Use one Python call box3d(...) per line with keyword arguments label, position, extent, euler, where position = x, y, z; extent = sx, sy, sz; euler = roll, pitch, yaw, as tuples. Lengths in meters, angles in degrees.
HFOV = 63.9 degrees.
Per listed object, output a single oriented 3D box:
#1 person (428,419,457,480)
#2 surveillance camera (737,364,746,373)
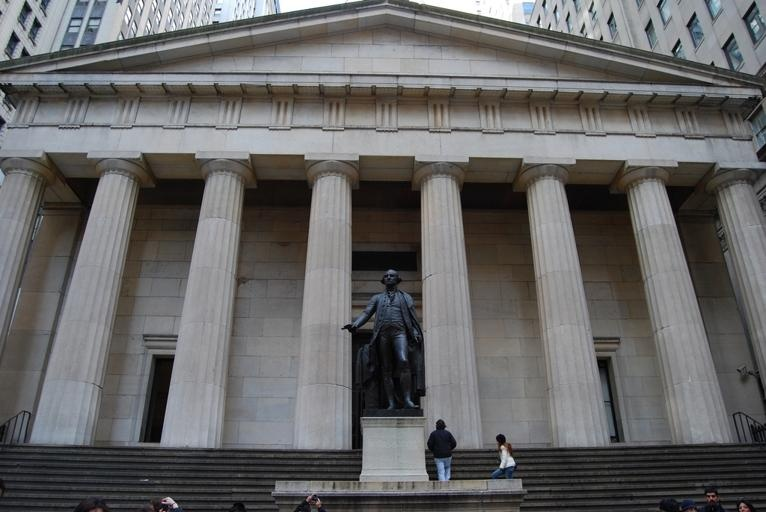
box3d(label="person", position=(1.857, 6.090, 19.285), extent=(0.809, 1.897, 1.093), euler=(-2, -31, 4))
box3d(label="surveillance camera", position=(17.922, 5.587, 30.594), extent=(0.440, 0.291, 0.261), euler=(-14, -33, 22))
